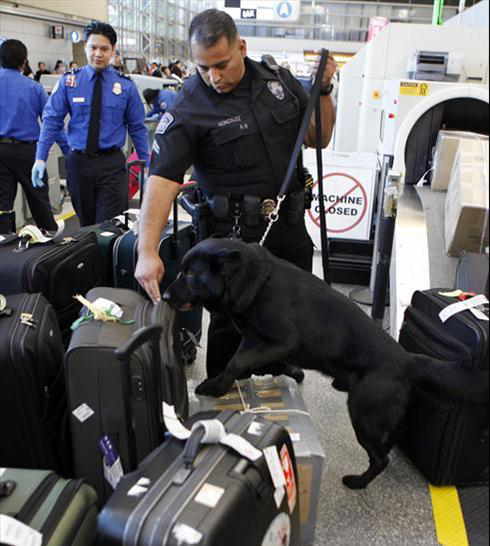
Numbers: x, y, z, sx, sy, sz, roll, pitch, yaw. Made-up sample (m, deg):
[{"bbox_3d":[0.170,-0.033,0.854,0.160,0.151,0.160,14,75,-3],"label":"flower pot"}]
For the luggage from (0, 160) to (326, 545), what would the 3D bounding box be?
[{"bbox_3d":[-0.170,0.229,1.766,0.996,1.252,0.664,2,20,6],"label":"luggage"}]

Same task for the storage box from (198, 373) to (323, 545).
[{"bbox_3d":[0.118,0.622,1.685,0.379,0.599,0.807,2,33,11],"label":"storage box"}]

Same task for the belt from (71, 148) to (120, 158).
[{"bbox_3d":[-1.176,-0.967,3.463,0.370,0.064,0.112,-12,6,-22],"label":"belt"}]
